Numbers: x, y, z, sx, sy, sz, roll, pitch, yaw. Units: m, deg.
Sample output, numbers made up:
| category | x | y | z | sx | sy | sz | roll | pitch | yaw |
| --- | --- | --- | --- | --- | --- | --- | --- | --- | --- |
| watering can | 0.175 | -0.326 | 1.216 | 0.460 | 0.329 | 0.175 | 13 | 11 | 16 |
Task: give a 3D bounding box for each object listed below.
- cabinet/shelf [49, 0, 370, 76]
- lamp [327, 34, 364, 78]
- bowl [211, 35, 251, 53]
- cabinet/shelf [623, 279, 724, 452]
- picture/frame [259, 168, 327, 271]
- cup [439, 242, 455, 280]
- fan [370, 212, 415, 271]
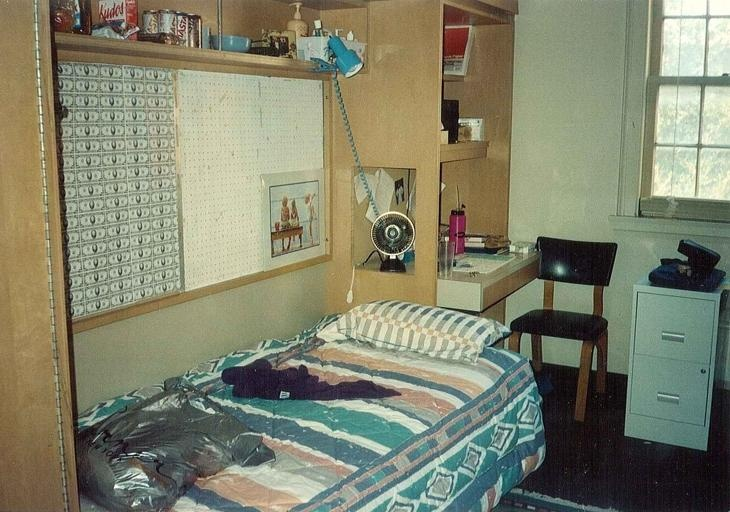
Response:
| category | x | y | z | sx | sy | sz | roll | pitch | yaw |
| --- | --- | --- | --- | --- | --- | --- | --- | --- | --- |
| cabinet/shelf | -0.723 | -0.871 | 2.481 | 0.217 | 0.123 | 1.191 | 9 | 15 | 38 |
| lamp | -0.084 | -0.886 | 2.767 | 0.107 | 0.113 | 0.190 | 33 | 14 | -3 |
| bowl | -0.595 | -0.936 | 2.639 | 0.110 | 0.042 | 0.114 | 1 | 16 | 0 |
| cabinet/shelf | 1.390 | 0.526 | 2.758 | 0.361 | 0.803 | 0.253 | 7 | 13 | 32 |
| picture/frame | -0.396 | -0.203 | 3.179 | 0.019 | 0.487 | 0.499 | 3 | 10 | 32 |
| cup | 0.433 | 0.008 | 3.228 | 0.075 | 0.192 | 0.112 | 1 | 11 | 6 |
| fan | 0.153 | -0.087 | 3.200 | 0.271 | 0.371 | 0.144 | 2 | 16 | 8 |
